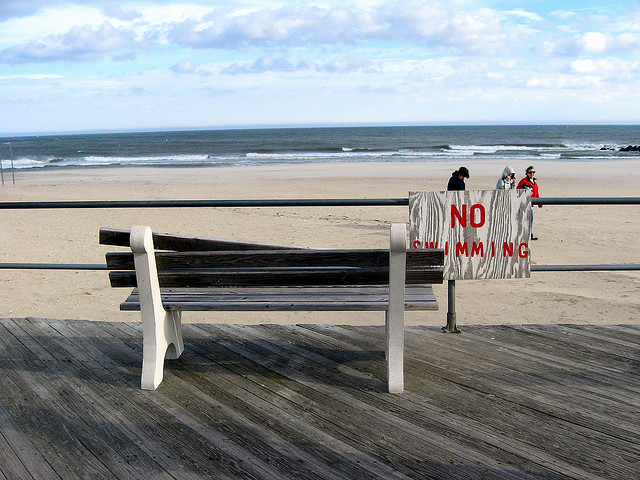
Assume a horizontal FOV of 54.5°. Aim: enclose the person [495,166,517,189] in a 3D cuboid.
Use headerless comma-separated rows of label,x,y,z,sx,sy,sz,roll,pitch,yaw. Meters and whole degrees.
person,3.832,-1.282,12.773,0.334,0.514,0.934,3,13,15
